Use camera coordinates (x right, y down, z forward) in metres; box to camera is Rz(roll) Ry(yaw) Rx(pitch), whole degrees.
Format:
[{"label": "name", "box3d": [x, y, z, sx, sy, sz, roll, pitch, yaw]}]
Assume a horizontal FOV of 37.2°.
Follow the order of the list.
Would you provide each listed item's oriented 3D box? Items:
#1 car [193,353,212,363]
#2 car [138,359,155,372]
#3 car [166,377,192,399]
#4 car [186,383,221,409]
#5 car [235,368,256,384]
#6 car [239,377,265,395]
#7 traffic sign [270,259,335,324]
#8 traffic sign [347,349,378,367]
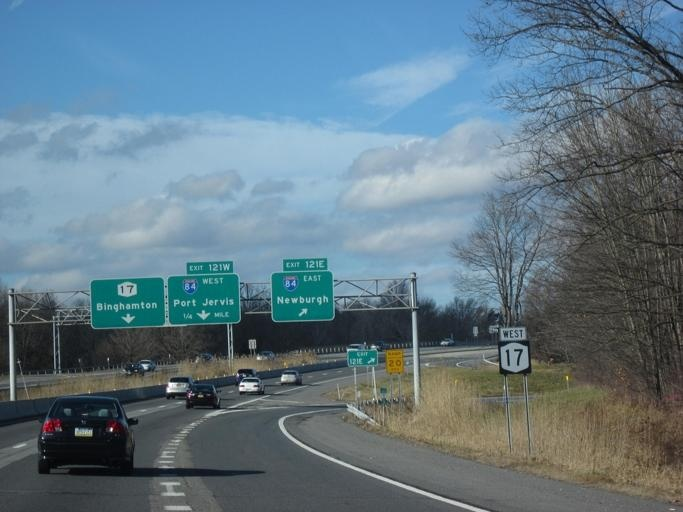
[{"label": "car", "box3d": [-16.390, 12.062, 120.024, 1.680, 1.715, 3.107, 0, -14, -1]}, {"label": "car", "box3d": [-20.541, 11.647, 107.952, 1.277, 1.291, 2.867, 0, -12, -1]}, {"label": "car", "box3d": [-10.763, 9.032, 67.898, 1.380, 1.277, 3.249, -1, 0, 2]}, {"label": "car", "box3d": [-7.737, 7.895, 56.685, 1.786, 1.438, 1.048, -3, -8, -12]}, {"label": "car", "box3d": [-8.140, 10.050, 85.795, 1.198, 1.155, 2.168, 1, 3, 2]}, {"label": "car", "box3d": [-6.448, 9.362, 72.701, 1.637, 1.371, 1.647, -3, -9, -14]}, {"label": "traffic sign", "box3d": [-1.876, 1.717, 49.878, 2.587, 3.101, 0.128, -1, -8, 9]}, {"label": "traffic sign", "box3d": [1.207, 5.909, 58.994, 1.529, 1.052, 0.034, -4, -15, 21]}]
